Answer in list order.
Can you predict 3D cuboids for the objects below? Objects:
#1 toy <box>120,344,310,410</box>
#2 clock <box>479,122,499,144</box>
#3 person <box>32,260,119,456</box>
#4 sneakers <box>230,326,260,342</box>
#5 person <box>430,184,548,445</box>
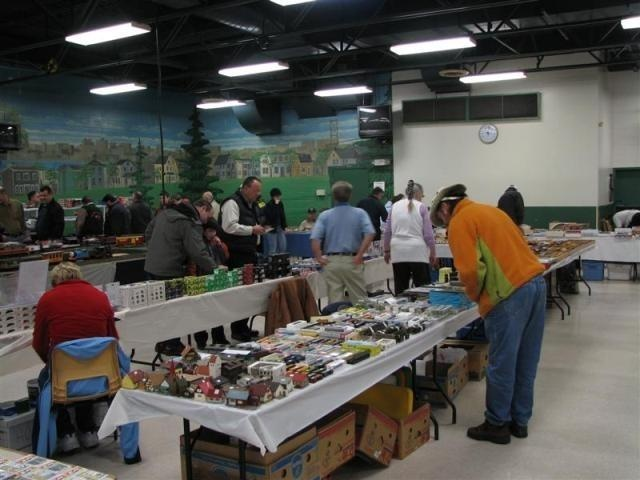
[{"bbox_3d":[-0.539,0.752,2.866,0.976,0.170,0.563,2,7,27],"label":"toy"},{"bbox_3d":[4.357,-2.784,12.849,0.558,0.635,0.064,-1,1,28],"label":"clock"},{"bbox_3d":[-1.909,0.885,3.785,0.676,1.390,0.581,9,7,9],"label":"person"},{"bbox_3d":[-0.999,1.222,6.420,0.475,0.193,0.149,-7,-5,31],"label":"sneakers"},{"bbox_3d":[1.304,0.568,3.876,0.800,2.005,0.534,1,6,21],"label":"person"}]
